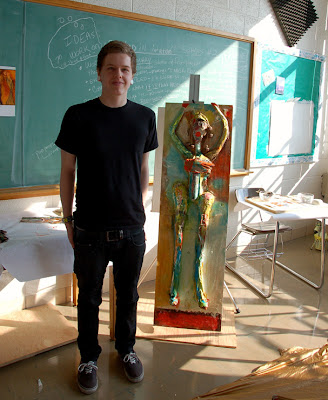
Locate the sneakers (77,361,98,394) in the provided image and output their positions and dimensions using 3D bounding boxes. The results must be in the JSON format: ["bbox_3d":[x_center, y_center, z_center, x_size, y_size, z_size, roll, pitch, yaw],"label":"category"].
[{"bbox_3d":[-0.366,0.876,1.593,0.071,0.071,0.166,2,8,-16],"label":"sneakers"}]

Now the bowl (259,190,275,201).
[{"bbox_3d":[0.956,-0.040,3.059,0.094,0.058,0.096,-1,12,0],"label":"bowl"}]

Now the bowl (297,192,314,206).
[{"bbox_3d":[1.297,-0.006,2.980,0.112,0.072,0.114,0,13,0],"label":"bowl"}]

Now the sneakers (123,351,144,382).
[{"bbox_3d":[-0.158,0.872,1.687,0.072,0.071,0.173,-2,5,-19],"label":"sneakers"}]

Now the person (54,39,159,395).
[{"bbox_3d":[-0.265,0.121,1.555,0.485,1.650,0.254,0,9,-20],"label":"person"}]
